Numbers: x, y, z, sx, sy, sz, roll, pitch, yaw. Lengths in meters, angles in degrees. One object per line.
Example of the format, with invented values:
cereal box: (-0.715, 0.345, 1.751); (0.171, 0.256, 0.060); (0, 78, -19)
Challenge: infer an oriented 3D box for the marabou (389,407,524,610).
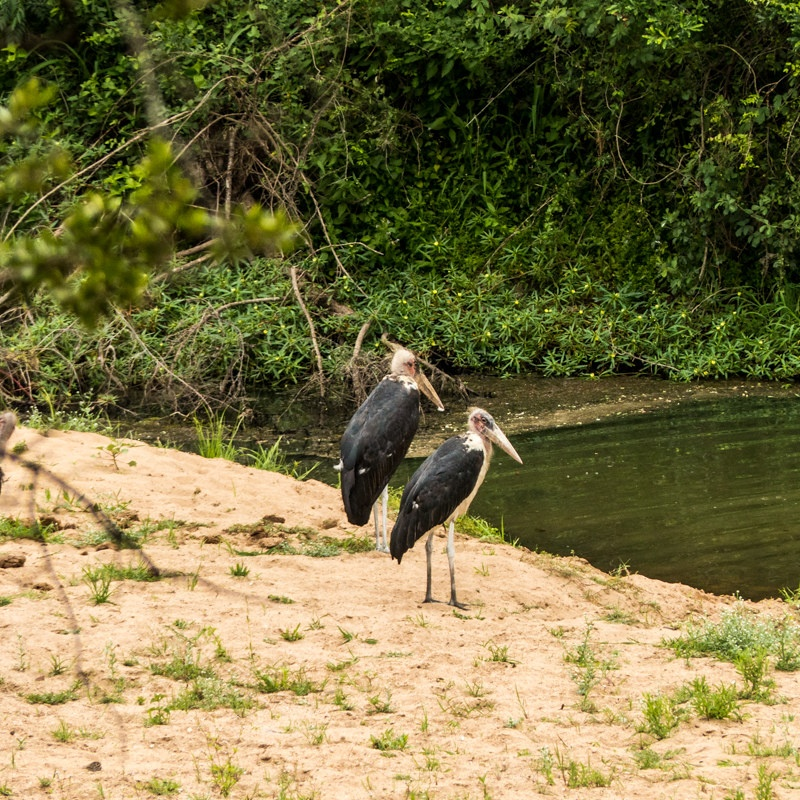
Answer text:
marabou: (0.344, 0.754, 9.587); (0.452, 0.987, 1.064); (13, 16, 36)
